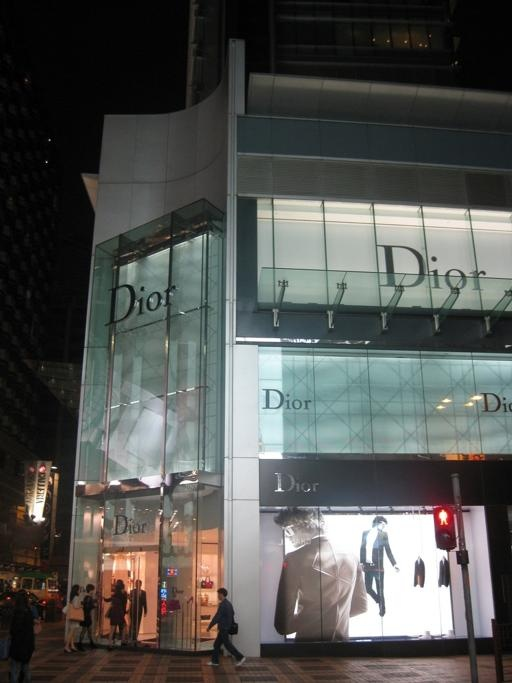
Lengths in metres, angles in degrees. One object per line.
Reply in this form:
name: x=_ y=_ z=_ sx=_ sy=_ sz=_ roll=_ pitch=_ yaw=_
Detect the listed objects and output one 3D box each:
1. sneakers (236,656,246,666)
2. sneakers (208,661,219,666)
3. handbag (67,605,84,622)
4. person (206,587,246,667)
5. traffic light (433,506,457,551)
sneakers: x=-0.277 y=6.180 z=11.481 sx=0.116 sy=0.131 sz=0.340 roll=-1 pitch=-22 yaw=-8
sneakers: x=-0.799 y=6.093 z=11.192 sx=0.205 sy=0.075 sz=0.388 roll=1 pitch=-20 yaw=-2
handbag: x=-4.181 y=6.325 z=13.790 sx=0.446 sy=0.423 sz=0.195 roll=13 pitch=-33 yaw=-28
person: x=-0.598 y=5.666 z=11.835 sx=0.696 sy=1.373 sz=1.146 roll=1 pitch=-20 yaw=-4
traffic light: x=2.963 y=2.934 z=9.308 sx=0.302 sy=0.634 sz=0.363 roll=-5 pitch=-21 yaw=13
